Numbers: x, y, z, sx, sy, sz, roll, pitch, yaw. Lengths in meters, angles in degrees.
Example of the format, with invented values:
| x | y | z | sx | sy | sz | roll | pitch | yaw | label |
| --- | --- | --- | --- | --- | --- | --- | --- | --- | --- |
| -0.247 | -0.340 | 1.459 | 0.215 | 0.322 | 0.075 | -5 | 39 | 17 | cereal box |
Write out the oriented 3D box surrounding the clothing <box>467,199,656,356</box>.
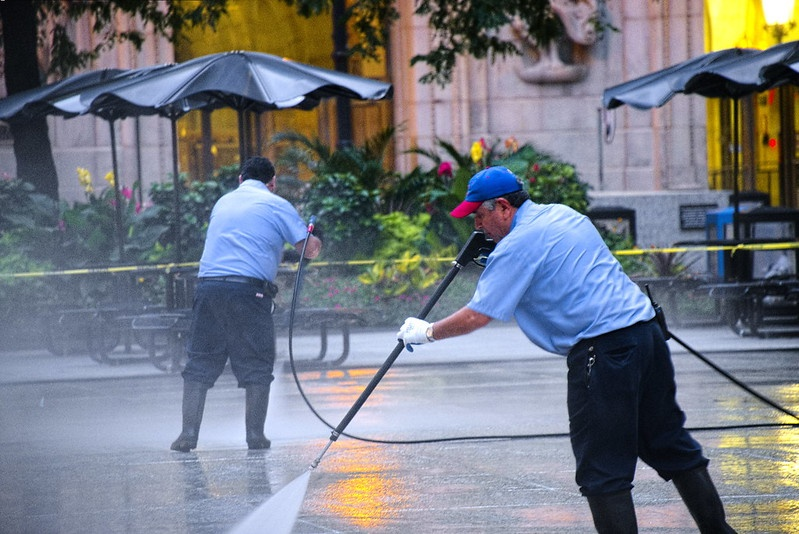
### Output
| x | y | z | sx | sy | sz | roll | pitch | yaw | label |
| --- | --- | --- | --- | --- | --- | --- | --- | --- | --- |
| 2.025 | 0.013 | 27.068 | 2.266 | 1.853 | 1.927 | -14 | 3 | 42 | clothing |

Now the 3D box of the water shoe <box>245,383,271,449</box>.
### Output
| x | y | z | sx | sy | sz | roll | pitch | yaw | label |
| --- | --- | --- | --- | --- | --- | --- | --- | --- | --- |
| -2.008 | 2.123 | 29.366 | 0.337 | 0.909 | 0.285 | -2 | 2 | -4 | water shoe |
